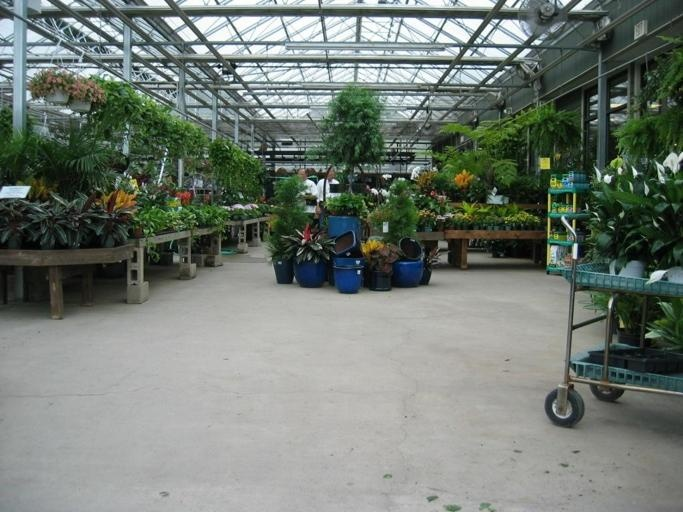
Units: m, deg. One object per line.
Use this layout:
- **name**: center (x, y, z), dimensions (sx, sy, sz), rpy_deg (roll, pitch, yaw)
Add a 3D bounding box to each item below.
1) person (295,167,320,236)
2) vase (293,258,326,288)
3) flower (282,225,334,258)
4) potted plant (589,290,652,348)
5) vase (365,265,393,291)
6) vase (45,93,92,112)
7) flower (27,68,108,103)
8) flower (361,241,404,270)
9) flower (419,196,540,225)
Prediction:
- **person**: center (-0.626, -0.821, 9.408), dimensions (0.490, 1.243, 0.359), rpy_deg (1, 28, 1)
- **vase**: center (-0.411, 0.226, 7.245), dimensions (0.368, 0.282, 0.335), rpy_deg (2, -7, 9)
- **flower**: center (-0.431, -0.172, 7.219), dimensions (0.818, 0.438, 0.390), rpy_deg (5, 9, 28)
- **potted plant**: center (2.025, 0.452, 3.967), dimensions (0.502, 0.499, 0.513), rpy_deg (-1, 3, 28)
- **vase**: center (0.497, 0.300, 7.170), dimensions (0.297, 0.227, 0.310), rpy_deg (1, 0, 3)
- **vase**: center (-2.903, -1.680, 5.876), dimensions (0.322, 0.114, 0.241), rpy_deg (2, -1, -19)
- **flower**: center (-2.857, -1.778, 5.761), dimensions (0.713, 0.293, 0.302), rpy_deg (-3, 9, -26)
- **flower**: center (0.493, 0.004, 7.115), dimensions (0.409, 0.370, 0.273), rpy_deg (5, 9, 25)
- **flower**: center (2.354, -0.803, 9.869), dimensions (2.270, 0.458, 0.930), rpy_deg (-1, 8, -13)
